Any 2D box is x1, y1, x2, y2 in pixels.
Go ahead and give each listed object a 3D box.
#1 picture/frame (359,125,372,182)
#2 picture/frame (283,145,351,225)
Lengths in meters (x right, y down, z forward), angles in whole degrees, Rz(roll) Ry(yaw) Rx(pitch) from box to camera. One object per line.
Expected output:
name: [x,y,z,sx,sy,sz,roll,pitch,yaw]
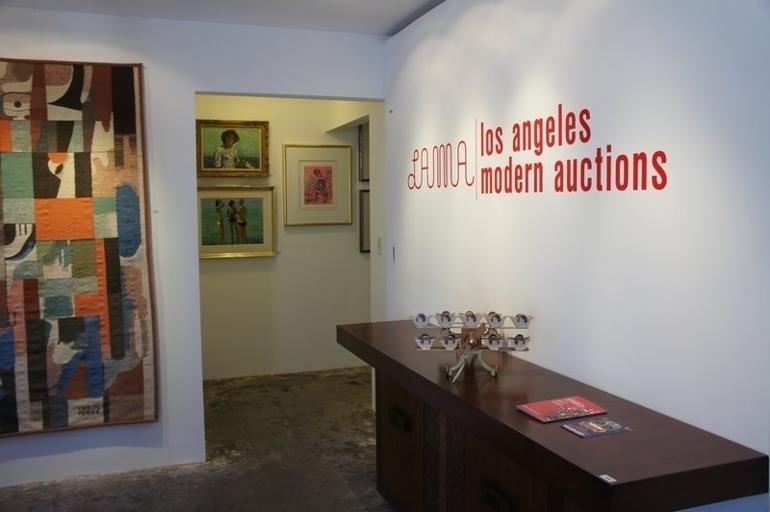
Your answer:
picture/frame: [-0.233,-1.146,6.086,0.181,0.629,0.051,7,14,44]
picture/frame: [-0.797,-0.813,6.052,0.814,1.006,0.070,-2,6,-12]
